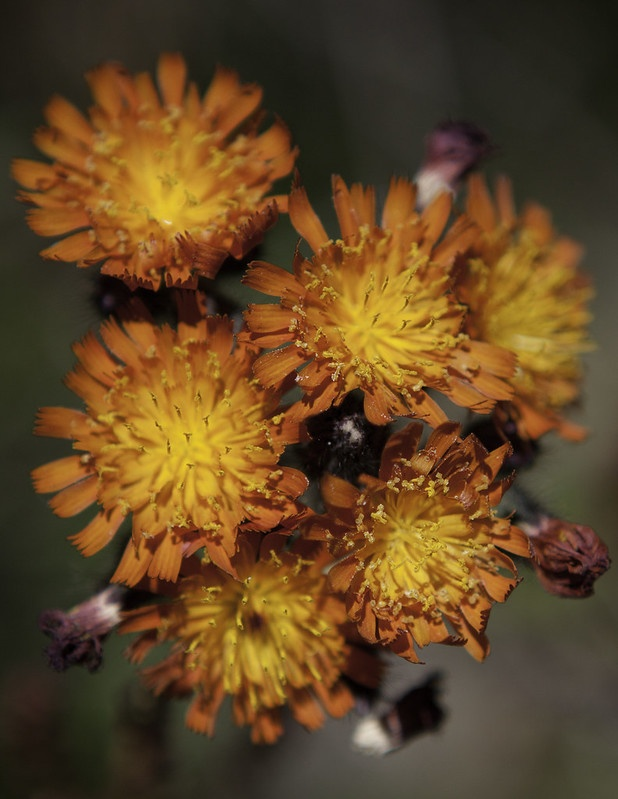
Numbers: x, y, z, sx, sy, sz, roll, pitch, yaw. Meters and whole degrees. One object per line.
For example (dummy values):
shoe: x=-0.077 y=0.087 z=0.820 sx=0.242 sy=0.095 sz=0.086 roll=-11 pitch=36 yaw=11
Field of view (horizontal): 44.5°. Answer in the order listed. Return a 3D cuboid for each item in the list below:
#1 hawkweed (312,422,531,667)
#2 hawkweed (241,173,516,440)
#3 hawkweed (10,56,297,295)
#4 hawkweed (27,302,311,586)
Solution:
hawkweed: x=0.133 y=0.167 z=0.877 sx=0.260 sy=0.289 sz=0.104 roll=-1 pitch=9 yaw=-17
hawkweed: x=0.083 y=-0.114 z=0.870 sx=0.346 sy=0.300 sz=0.133 roll=-6 pitch=6 yaw=-11
hawkweed: x=-0.205 y=-0.293 z=1.037 sx=0.388 sy=0.122 sz=0.361 roll=-20 pitch=-20 yaw=1
hawkweed: x=-0.169 y=0.060 z=0.907 sx=0.341 sy=0.316 sz=0.106 roll=4 pitch=9 yaw=21
